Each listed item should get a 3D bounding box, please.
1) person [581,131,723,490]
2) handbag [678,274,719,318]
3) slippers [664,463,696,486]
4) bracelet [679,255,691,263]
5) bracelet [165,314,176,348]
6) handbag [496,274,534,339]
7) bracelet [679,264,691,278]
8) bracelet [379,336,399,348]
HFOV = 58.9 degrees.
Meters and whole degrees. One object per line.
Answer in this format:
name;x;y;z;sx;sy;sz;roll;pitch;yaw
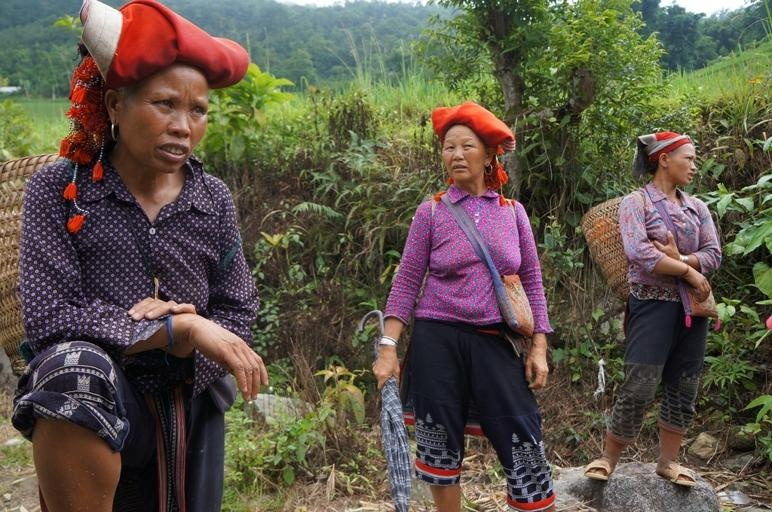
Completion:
person;2.180;0.422;5.506;1.005;2.820;0.461;-7;-6;26
handbag;2.474;0.322;5.301;0.121;0.312;0.303;-18;30;44
slippers;2.326;1.734;5.453;0.146;0.113;0.253;-4;4;-40
bracelet;2.352;0.024;5.377;0.060;0.061;0.062;17;3;11
bracelet;-1.265;0.444;4.003;0.034;0.138;0.103;1;-13;-11
handbag;0.885;0.332;4.712;0.141;0.417;0.235;-16;-21;5
bracelet;2.330;0.115;5.311;0.059;0.077;0.033;18;-6;-3
bracelet;0.008;0.590;4.741;0.132;0.079;0.078;-4;-6;-5
